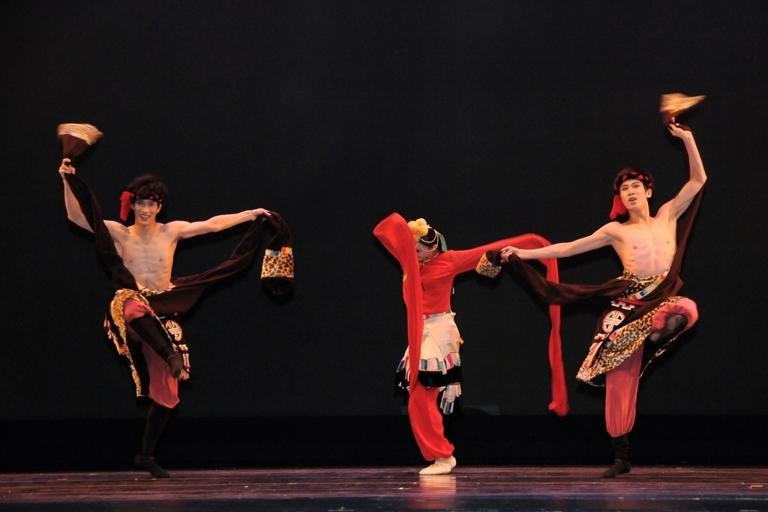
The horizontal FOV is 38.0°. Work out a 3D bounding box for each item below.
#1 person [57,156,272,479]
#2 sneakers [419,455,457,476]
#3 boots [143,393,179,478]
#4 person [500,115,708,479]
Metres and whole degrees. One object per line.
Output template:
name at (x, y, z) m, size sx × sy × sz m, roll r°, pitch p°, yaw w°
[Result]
person at (-1.728, 0.438, 8.451) m, size 1.241 × 2.292 × 1.050 m, roll -4°, pitch 21°, yaw -13°
sneakers at (0.412, 1.577, 8.422) m, size 0.365 × 0.112 × 0.105 m, roll -3°, pitch -5°, yaw -8°
boots at (-1.733, 1.353, 8.463) m, size 0.259 × 0.584 × 0.535 m, roll -2°, pitch 19°, yaw -10°
person at (1.809, 0.299, 8.469) m, size 1.284 × 2.473 × 1.041 m, roll -17°, pitch 28°, yaw -41°
